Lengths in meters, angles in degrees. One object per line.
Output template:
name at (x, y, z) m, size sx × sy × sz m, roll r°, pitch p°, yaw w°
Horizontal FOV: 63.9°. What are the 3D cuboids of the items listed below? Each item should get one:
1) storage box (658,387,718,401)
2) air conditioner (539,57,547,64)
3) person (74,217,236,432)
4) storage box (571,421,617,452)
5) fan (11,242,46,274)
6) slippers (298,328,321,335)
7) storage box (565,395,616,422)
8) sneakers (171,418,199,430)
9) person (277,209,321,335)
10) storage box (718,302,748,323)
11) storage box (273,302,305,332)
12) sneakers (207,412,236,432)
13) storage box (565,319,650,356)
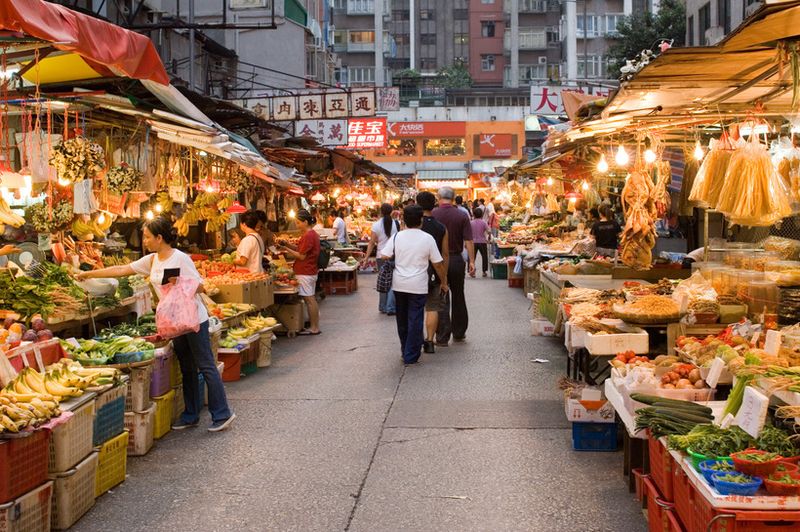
storage box at (2.466, 1.101, 5.479) m, size 0.230 × 0.059 × 0.226 m, roll 0°, pitch -1°, yaw -14°
air conditioner at (13.409, -18.915, 59.496) m, size 0.579 × 0.613 × 0.321 m, roll -11°, pitch 17°, yaw 22°
person at (-2.667, 0.753, 7.212) m, size 1.043 × 2.770 × 1.332 m, roll 0°, pitch 2°, yaw 13°
storage box at (1.993, 1.734, 6.519) m, size 0.341 × 0.210 × 0.340 m, roll 0°, pitch -1°, yaw 6°
fan at (-4.590, -0.104, 7.926) m, size 0.403 × 0.279 × 1.500 m, roll -4°, pitch 7°, yaw -31°
slippers at (-1.724, 1.250, 12.308) m, size 0.386 × 0.159 × 0.148 m, roll 3°, pitch 0°, yaw 0°
storage box at (1.937, 1.484, 6.550) m, size 0.307 × 0.136 × 0.305 m, roll 0°, pitch 1°, yaw 4°
sneakers at (-2.425, 1.796, 7.279) m, size 0.281 × 0.118 × 0.100 m, roll 2°, pitch -2°, yaw -7°
person at (-1.932, 0.071, 12.447) m, size 1.087 × 2.392 × 0.847 m, roll 0°, pitch 2°, yaw 3°
storage box at (3.544, 0.523, 6.798) m, size 0.267 × 0.196 × 0.122 m, roll -1°, pitch 6°, yaw -5°
storage box at (-2.049, 0.938, 12.359) m, size 0.675 × 0.654 × 0.498 m, roll -1°, pitch -3°, yaw 4°
sneakers at (-1.998, 1.783, 7.259) m, size 0.329 × 0.133 × 0.128 m, roll -30°, pitch -4°, yaw -23°
storage box at (2.320, 0.842, 7.113) m, size 0.718 × 0.400 × 1.093 m, roll 0°, pitch 6°, yaw 5°
